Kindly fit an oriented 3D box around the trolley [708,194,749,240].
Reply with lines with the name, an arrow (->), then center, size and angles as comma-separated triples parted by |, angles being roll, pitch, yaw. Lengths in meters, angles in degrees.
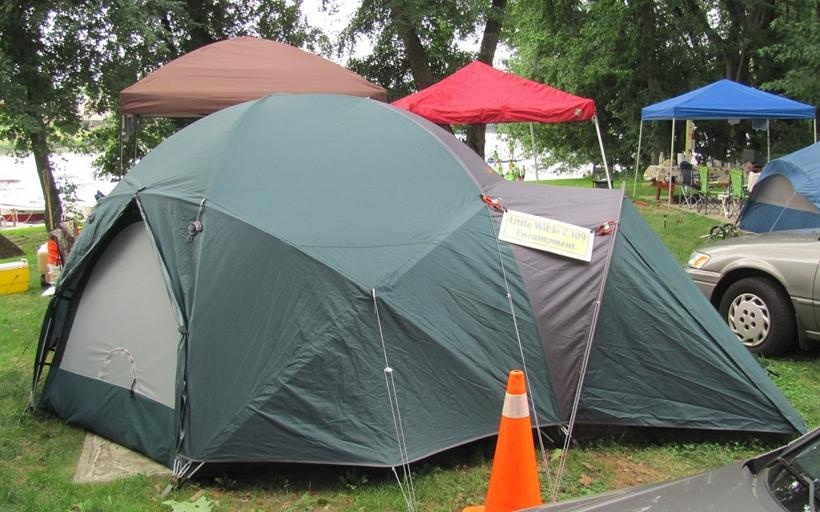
trolley -> 6.780, -0.621, 14.671 | 0.356, 0.485, 1.031 | -9, -2, -2
